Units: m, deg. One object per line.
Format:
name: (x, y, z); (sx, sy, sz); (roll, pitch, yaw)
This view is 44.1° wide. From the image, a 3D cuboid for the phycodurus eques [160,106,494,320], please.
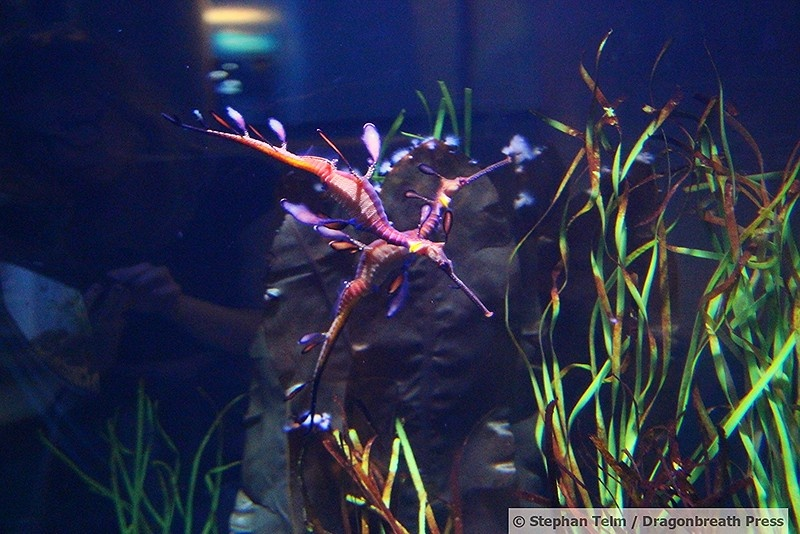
phycodurus eques: (-0.170, -0.140, 2.750); (0.874, 0.644, 0.192); (2, 26, 21)
